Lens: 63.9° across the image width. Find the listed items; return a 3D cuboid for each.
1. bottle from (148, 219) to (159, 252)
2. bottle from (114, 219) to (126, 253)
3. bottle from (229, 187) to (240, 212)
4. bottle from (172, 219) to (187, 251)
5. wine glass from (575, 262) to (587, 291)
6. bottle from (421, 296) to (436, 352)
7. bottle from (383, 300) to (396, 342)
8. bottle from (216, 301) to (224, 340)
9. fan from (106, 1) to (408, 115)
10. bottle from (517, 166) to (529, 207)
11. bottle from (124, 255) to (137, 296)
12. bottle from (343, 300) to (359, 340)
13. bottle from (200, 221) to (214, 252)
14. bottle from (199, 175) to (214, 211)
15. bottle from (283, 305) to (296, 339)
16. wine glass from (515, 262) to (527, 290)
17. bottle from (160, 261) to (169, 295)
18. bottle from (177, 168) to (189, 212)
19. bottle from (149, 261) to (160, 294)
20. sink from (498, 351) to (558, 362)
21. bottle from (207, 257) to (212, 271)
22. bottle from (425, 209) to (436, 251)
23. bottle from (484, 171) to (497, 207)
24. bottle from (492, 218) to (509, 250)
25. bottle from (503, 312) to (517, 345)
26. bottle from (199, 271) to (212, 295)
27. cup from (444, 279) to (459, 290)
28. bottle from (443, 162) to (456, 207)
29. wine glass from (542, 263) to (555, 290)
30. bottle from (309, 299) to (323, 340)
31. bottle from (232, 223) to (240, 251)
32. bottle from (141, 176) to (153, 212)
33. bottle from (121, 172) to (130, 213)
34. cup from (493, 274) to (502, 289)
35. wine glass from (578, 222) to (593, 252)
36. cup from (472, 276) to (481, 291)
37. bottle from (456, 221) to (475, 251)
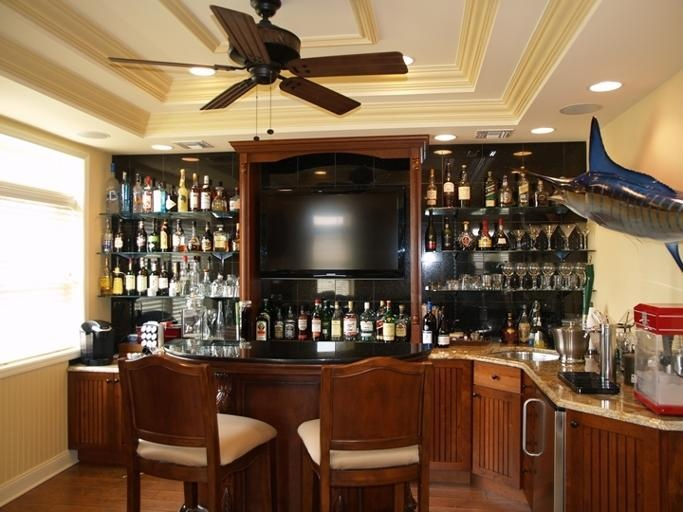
[{"bbox_3d":[-1.737,-0.195,5.098,0.116,0.300,0.083,-2,-2,10],"label":"bottle"},{"bbox_3d":[-2.047,-0.197,5.089,0.097,0.303,0.147,-1,-3,-19],"label":"bottle"},{"bbox_3d":[-0.972,-0.525,4.988,0.089,0.245,0.188,-1,-2,-9],"label":"bottle"},{"bbox_3d":[-1.486,-0.197,5.080,0.178,0.307,0.082,-3,-3,32],"label":"bottle"},{"bbox_3d":[1.978,0.163,4.581,0.068,0.220,0.095,-3,-3,26],"label":"wine glass"},{"bbox_3d":[0.740,0.562,4.666,0.125,0.382,0.260,-2,-2,9],"label":"bottle"},{"bbox_3d":[0.402,0.552,4.722,0.118,0.332,0.268,-2,-2,5],"label":"bottle"},{"bbox_3d":[-1.054,0.542,4.787,0.072,0.304,0.499,-1,-2,-13],"label":"bottle"},{"bbox_3d":[-0.244,-1.031,2.880,0.966,0.231,0.989,-2,-2,17],"label":"fan"},{"bbox_3d":[1.543,-0.573,4.679,0.098,0.310,0.143,-2,-3,18],"label":"bottle"},{"bbox_3d":[-1.951,0.189,5.113,0.100,0.352,0.137,-1,-3,-20],"label":"bottle"},{"bbox_3d":[0.082,0.557,4.806,0.127,0.333,0.261,-2,-2,6],"label":"bottle"},{"bbox_3d":[-1.228,-0.184,5.057,0.098,0.278,0.089,-1,-2,-4],"label":"bottle"},{"bbox_3d":[-1.234,-0.589,5.036,0.114,0.365,0.266,-1,-2,-13],"label":"bottle"},{"bbox_3d":[-0.452,0.590,4.875,0.112,0.279,0.205,-1,-2,-3],"label":"bottle"},{"bbox_3d":[1.527,0.169,4.687,0.092,0.229,0.168,-2,-3,17],"label":"wine glass"},{"bbox_3d":[-1.632,0.207,5.080,0.087,0.311,0.101,-1,-2,-7],"label":"bottle"},{"bbox_3d":[-1.451,-0.609,5.045,0.102,0.440,0.257,-1,-2,-15],"label":"bottle"},{"bbox_3d":[-1.720,0.194,5.075,0.095,0.337,0.093,-1,-2,0],"label":"bottle"},{"bbox_3d":[1.516,0.813,4.399,0.233,0.070,0.211,1,-4,2],"label":"sink"},{"bbox_3d":[-1.213,0.062,5.092,0.053,0.132,0.009,-2,-3,18],"label":"bottle"},{"bbox_3d":[0.778,-0.212,4.845,0.093,0.326,0.065,-2,-2,7],"label":"bottle"},{"bbox_3d":[1.282,-0.587,4.747,0.101,0.341,0.169,-2,-3,15],"label":"bottle"},{"bbox_3d":[1.366,-0.189,4.755,0.140,0.259,0.156,-2,-3,15],"label":"bottle"},{"bbox_3d":[1.440,0.623,4.730,0.117,0.262,0.094,-3,-3,24],"label":"bottle"},{"bbox_3d":[-1.229,0.235,4.983,0.108,0.250,0.248,-1,-2,-14],"label":"bottle"},{"bbox_3d":[0.958,0.253,4.810,0.105,0.080,0.095,3,-1,-2],"label":"cup"},{"bbox_3d":[0.939,-0.644,4.830,0.104,0.423,0.146,-2,-2,15],"label":"bottle"},{"bbox_3d":[1.725,0.164,4.613,0.111,0.220,0.147,-2,-3,19],"label":"wine glass"},{"bbox_3d":[-0.222,0.554,4.860,0.095,0.357,0.222,-1,-2,-3],"label":"bottle"},{"bbox_3d":[-0.966,-0.178,5.020,0.056,0.264,0.118,-1,-3,-21],"label":"bottle"},{"bbox_3d":[-1.787,-0.585,5.074,0.093,0.376,0.223,-1,-3,-20],"label":"bottle"},{"bbox_3d":[-1.998,-0.596,5.115,0.082,0.391,0.147,-1,-3,-21],"label":"bottle"},{"bbox_3d":[1.330,0.216,4.702,0.092,0.127,0.080,-2,-3,17],"label":"cup"},{"bbox_3d":[2.043,-0.174,4.643,0.106,0.243,0.092,-2,-3,22],"label":"wine glass"},{"bbox_3d":[1.161,0.224,4.744,0.080,0.116,0.067,-2,-2,12],"label":"cup"},{"bbox_3d":[1.072,-0.186,4.803,0.129,0.256,0.110,-2,-2,2],"label":"bottle"}]
